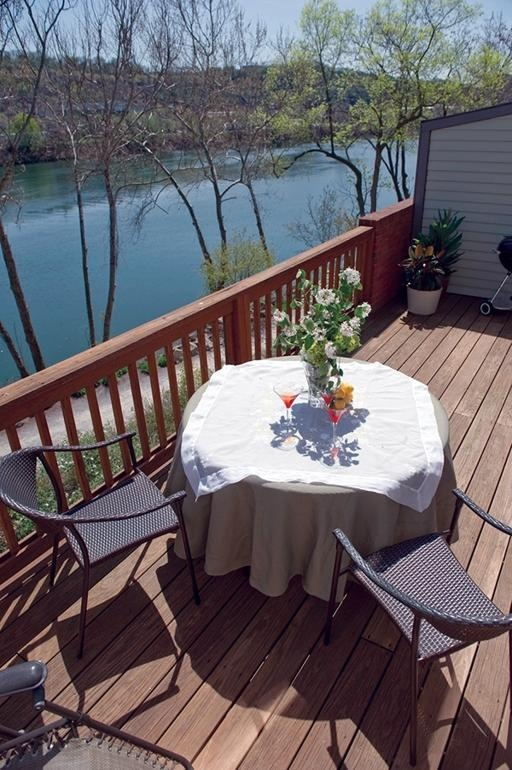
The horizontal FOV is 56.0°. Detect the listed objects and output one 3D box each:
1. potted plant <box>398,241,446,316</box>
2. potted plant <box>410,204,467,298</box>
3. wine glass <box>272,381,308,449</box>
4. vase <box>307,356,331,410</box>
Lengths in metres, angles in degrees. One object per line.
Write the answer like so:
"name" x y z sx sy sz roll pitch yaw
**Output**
"potted plant" 1.890 -1.197 5.455 0.501 0.876 0.530 -9 31 -11
"potted plant" 2.050 -1.370 5.521 0.724 1.051 0.585 0 22 12
"wine glass" 0.147 0.144 2.084 0.131 0.230 0.129 25 44 26
"vase" 0.260 -0.012 1.983 0.108 0.195 0.132 16 45 16
